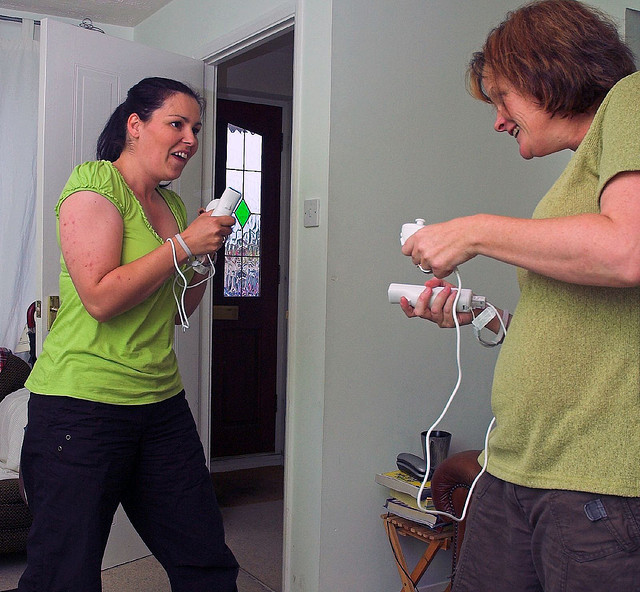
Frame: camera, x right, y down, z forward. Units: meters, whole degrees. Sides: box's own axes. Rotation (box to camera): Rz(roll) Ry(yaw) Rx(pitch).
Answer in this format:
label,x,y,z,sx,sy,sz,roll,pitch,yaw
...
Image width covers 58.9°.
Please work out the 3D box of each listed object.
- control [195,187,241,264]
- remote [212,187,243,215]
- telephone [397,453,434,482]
label,x,y,z,sx,sy,sz,roll,pitch,yaw
control,-0.257,-0.225,1.500,0.062,0.252,0.073,19,-11,-6
remote,-0.243,-0.242,1.473,0.046,0.084,0.024,36,-25,-8
telephone,0.351,0.613,2.132,0.093,0.062,0.165,4,9,-25
